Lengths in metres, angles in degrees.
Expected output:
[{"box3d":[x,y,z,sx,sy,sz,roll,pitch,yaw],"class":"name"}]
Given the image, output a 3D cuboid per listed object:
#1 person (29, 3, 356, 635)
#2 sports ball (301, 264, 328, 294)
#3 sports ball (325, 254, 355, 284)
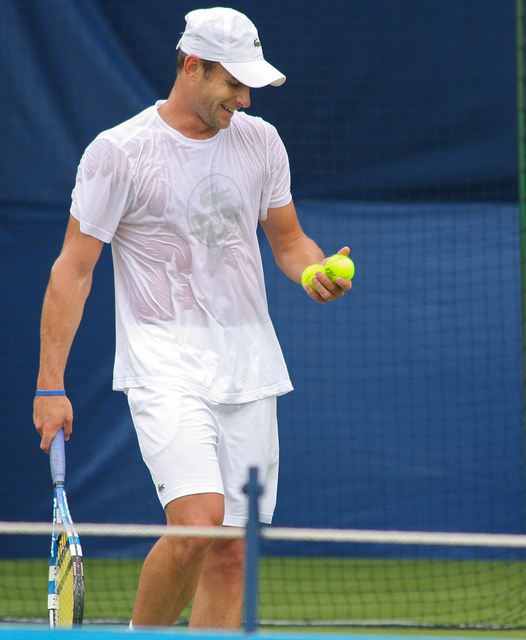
[{"box3d":[-0.125,0.056,4.580,1.107,2.153,1.533,-2,8,-16],"class":"person"},{"box3d":[0.182,-0.151,5.016,0.077,0.081,0.079,-13,-14,-3],"class":"sports ball"},{"box3d":[0.261,-0.180,5.013,0.086,0.107,0.095,-3,2,-2],"class":"sports ball"}]
